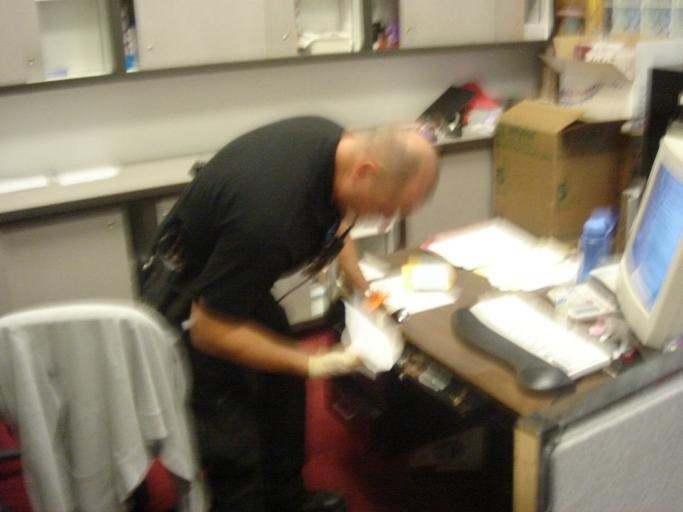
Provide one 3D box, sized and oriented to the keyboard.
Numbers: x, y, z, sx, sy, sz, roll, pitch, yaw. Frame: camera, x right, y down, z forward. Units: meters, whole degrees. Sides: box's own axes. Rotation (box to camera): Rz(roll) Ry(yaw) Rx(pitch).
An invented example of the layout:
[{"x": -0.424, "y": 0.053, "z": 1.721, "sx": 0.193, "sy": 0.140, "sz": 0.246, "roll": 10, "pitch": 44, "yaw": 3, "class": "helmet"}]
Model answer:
[{"x": 0.464, "y": 0.193, "z": 1.440, "sx": 0.320, "sy": 0.078, "sz": 0.346, "roll": -15, "pitch": 29, "yaw": -20, "class": "keyboard"}]
